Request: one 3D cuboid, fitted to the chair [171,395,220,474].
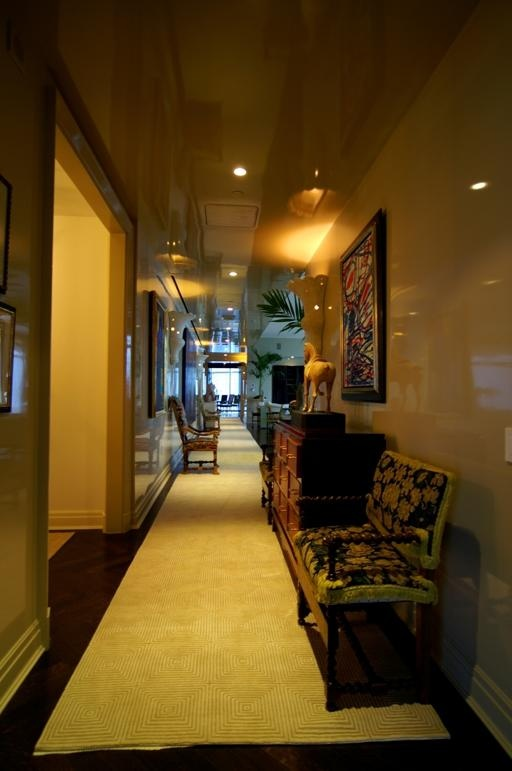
[{"bbox_3d":[-0.881,0.702,7.553,0.906,1.570,0.948,0,0,-3],"label":"chair"}]

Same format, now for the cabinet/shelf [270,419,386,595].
[{"bbox_3d":[0.371,0.596,2.533,0.344,0.694,0.888,2,-1,4],"label":"cabinet/shelf"}]

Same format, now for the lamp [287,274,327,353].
[{"bbox_3d":[0.494,-0.700,4.810,0.357,0.740,0.399,0,0,6],"label":"lamp"}]

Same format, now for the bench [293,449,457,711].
[{"bbox_3d":[0.476,0.739,2.112,0.603,0.826,0.744,0,0,3],"label":"bench"}]

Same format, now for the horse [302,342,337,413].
[{"bbox_3d":[0.415,-0.066,3.499,0.150,0.508,0.577,3,-1,-7],"label":"horse"}]
